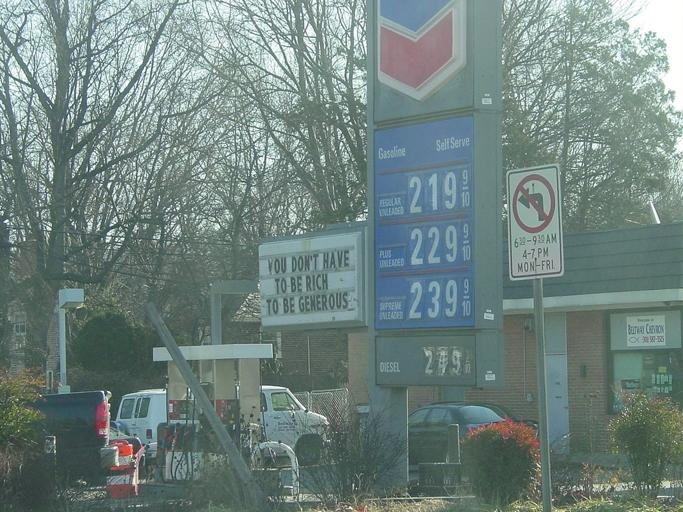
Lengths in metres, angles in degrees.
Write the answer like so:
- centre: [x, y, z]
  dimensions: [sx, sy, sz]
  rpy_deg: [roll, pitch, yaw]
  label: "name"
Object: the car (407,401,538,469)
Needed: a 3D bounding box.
- centre: [2.681, 4.322, 29.237]
  dimensions: [2.092, 1.488, 1.364]
  rpy_deg: [-3, -12, 3]
  label: "car"
